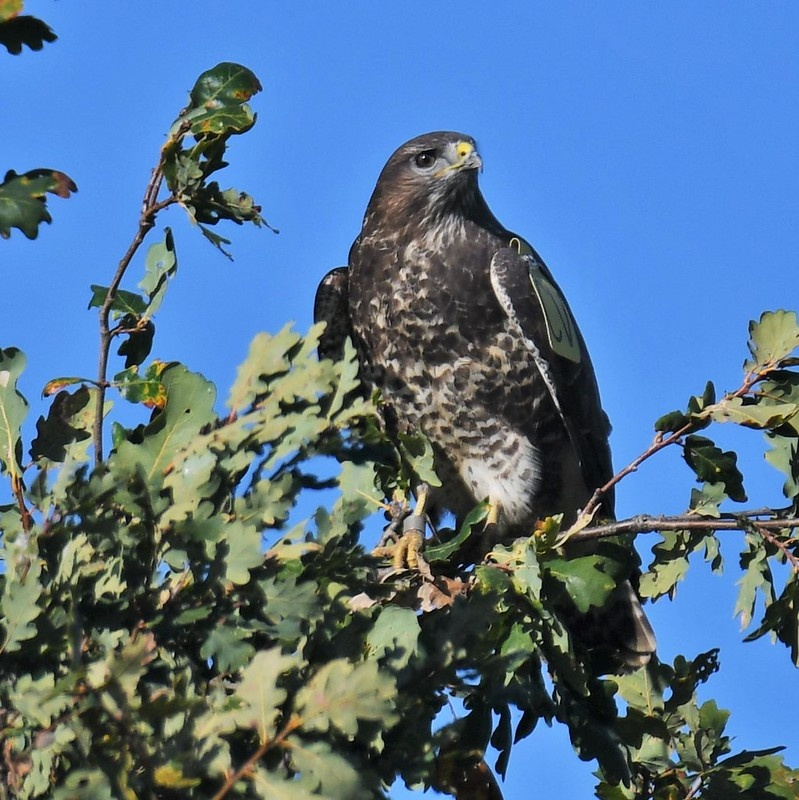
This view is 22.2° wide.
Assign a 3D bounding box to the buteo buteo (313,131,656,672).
[{"bbox_3d":[0.173,0.110,5.003,0.530,1.307,1.126,-18,-37,25],"label":"buteo buteo"}]
